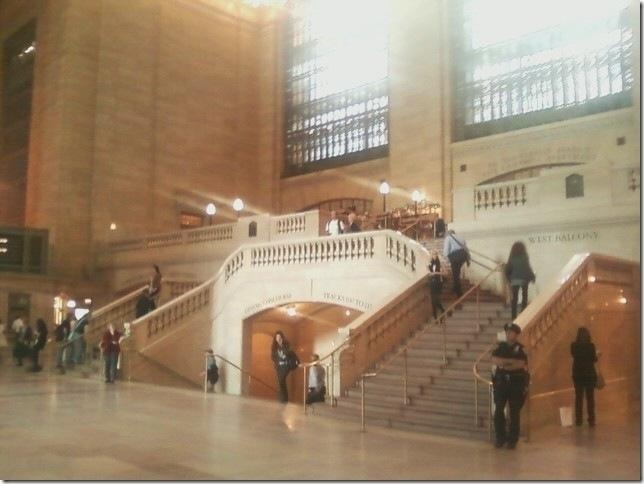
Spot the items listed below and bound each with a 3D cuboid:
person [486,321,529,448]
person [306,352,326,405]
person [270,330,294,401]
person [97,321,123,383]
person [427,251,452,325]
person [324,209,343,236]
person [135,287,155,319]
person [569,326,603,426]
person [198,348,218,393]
[{"bbox_3d":[3.369,2.569,11.879,0.648,2.278,0.477,0,0,1],"label":"person"},{"bbox_3d":[-0.172,3.236,15.601,0.446,1.113,1.226,0,0,-1],"label":"person"},{"bbox_3d":[-1.058,3.206,17.173,0.518,1.783,1.015,0,0,-4],"label":"person"},{"bbox_3d":[-5.960,3.120,18.586,0.602,1.471,0.578,0,0,-34],"label":"person"},{"bbox_3d":[2.776,1.053,16.232,0.393,1.582,1.200,0,0,12],"label":"person"},{"bbox_3d":[0.348,-0.525,18.735,0.470,0.657,0.896,0,0,0],"label":"person"},{"bbox_3d":[-5.555,1.904,20.642,0.536,0.844,0.631,0,0,-16],"label":"person"},{"bbox_3d":[5.296,2.800,13.407,0.621,2.140,0.578,0,0,4],"label":"person"},{"bbox_3d":[-3.418,3.873,19.590,0.457,1.412,0.489,-8,-30,4],"label":"person"}]
